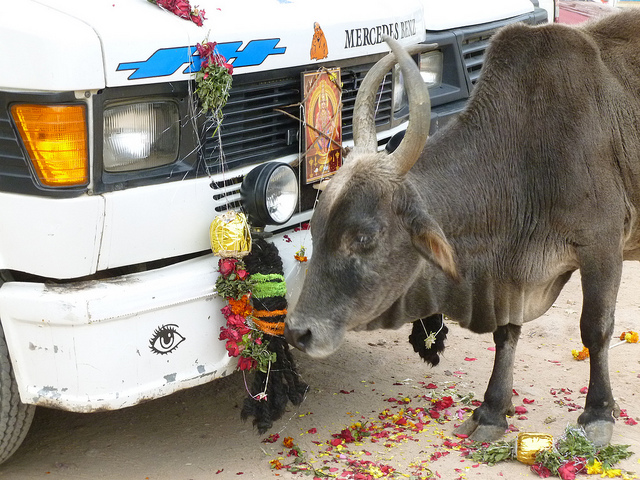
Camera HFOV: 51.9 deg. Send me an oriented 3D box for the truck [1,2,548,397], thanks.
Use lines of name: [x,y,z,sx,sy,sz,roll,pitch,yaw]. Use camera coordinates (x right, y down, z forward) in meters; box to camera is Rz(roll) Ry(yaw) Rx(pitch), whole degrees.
truck: [-0.671,-0.366,4.739,3.116,1.733,2.234,-9,11,-42]
